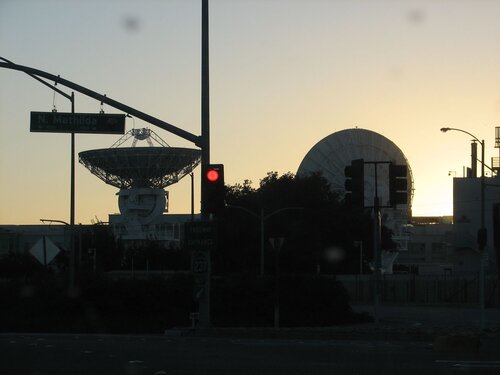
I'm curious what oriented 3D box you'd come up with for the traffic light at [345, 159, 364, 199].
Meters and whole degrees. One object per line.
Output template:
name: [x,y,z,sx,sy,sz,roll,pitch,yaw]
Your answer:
traffic light: [4.743,-0.160,54.027,0.858,2.117,0.851,0,-4,6]
